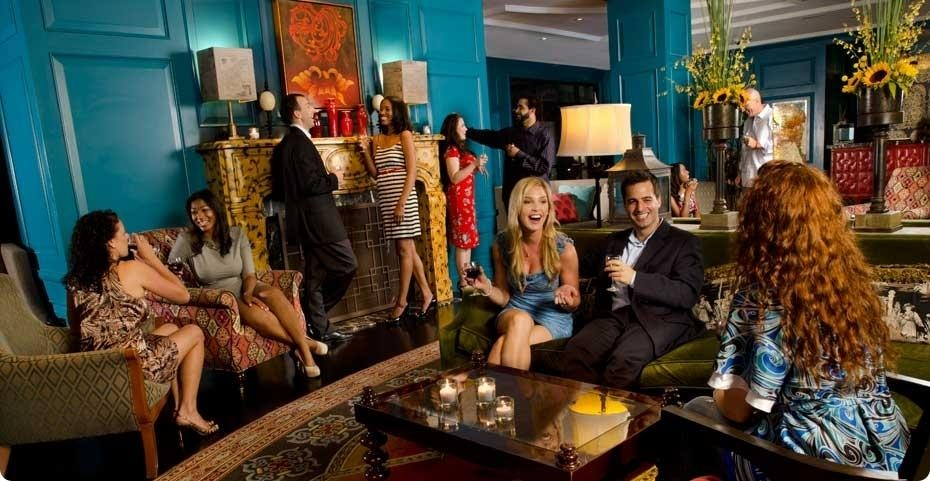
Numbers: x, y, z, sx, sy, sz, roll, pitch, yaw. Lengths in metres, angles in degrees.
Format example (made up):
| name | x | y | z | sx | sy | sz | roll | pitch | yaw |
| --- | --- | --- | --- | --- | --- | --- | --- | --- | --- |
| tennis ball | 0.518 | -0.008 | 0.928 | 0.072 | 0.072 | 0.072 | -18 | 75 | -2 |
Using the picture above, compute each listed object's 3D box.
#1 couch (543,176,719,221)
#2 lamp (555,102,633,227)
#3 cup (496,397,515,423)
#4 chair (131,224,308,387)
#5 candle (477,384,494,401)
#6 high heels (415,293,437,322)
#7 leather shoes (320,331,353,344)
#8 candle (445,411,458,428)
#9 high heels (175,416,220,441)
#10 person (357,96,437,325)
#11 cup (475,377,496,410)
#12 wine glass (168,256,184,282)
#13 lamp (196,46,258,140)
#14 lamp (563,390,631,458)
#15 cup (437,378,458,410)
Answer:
| name | x | y | z | sx | sy | sz | roll | pitch | yaw |
| --- | --- | --- | --- | --- | --- | --- | --- | --- | --- |
| couch | 2.081 | -0.653 | 7.807 | 1.886 | 0.655 | 1.029 | 2 | 5 | 29 |
| lamp | 1.345 | -0.720 | 5.721 | 0.788 | 1.113 | 0.733 | -3 | 5 | -37 |
| cup | 0.255 | 1.117 | 3.830 | 0.172 | 0.165 | 0.159 | -3 | 5 | 0 |
| chair | -2.437 | 0.524 | 5.598 | 1.478 | 1.589 | 1.481 | 0 | 3 | 30 |
| candle | 0.149 | 1.060 | 3.985 | 0.113 | 0.072 | 0.105 | 0 | 9 | -1 |
| high heels | -0.454 | 0.816 | 6.748 | 0.211 | 0.372 | 0.120 | 2 | 9 | -17 |
| leather shoes | -1.359 | 1.040 | 6.077 | 0.335 | 0.116 | 0.117 | -3 | 10 | -13 |
| candle | -0.089 | 1.214 | 3.835 | 0.063 | 0.052 | 0.059 | -2 | 2 | 5 |
| high heels | -2.173 | 1.536 | 4.651 | 0.292 | 0.098 | 0.181 | 5 | 3 | -14 |
| person | -0.777 | -0.386 | 6.627 | 0.725 | 2.520 | 0.684 | -13 | 14 | -20 |
| cup | 0.122 | 1.078 | 4.001 | 0.167 | 0.161 | 0.157 | -1 | 1 | 0 |
| wine glass | -2.629 | 0.251 | 5.223 | 0.086 | 0.218 | 0.174 | -12 | 19 | -39 |
| lamp | -2.503 | -1.735 | 5.920 | 0.593 | 0.548 | 0.326 | -7 | 12 | 0 |
| lamp | 0.873 | 1.192 | 3.685 | 0.336 | 0.229 | 0.345 | -2 | -5 | -1 |
| cup | -0.153 | 1.090 | 4.043 | 0.196 | 0.190 | 0.187 | -4 | -16 | -1 |
